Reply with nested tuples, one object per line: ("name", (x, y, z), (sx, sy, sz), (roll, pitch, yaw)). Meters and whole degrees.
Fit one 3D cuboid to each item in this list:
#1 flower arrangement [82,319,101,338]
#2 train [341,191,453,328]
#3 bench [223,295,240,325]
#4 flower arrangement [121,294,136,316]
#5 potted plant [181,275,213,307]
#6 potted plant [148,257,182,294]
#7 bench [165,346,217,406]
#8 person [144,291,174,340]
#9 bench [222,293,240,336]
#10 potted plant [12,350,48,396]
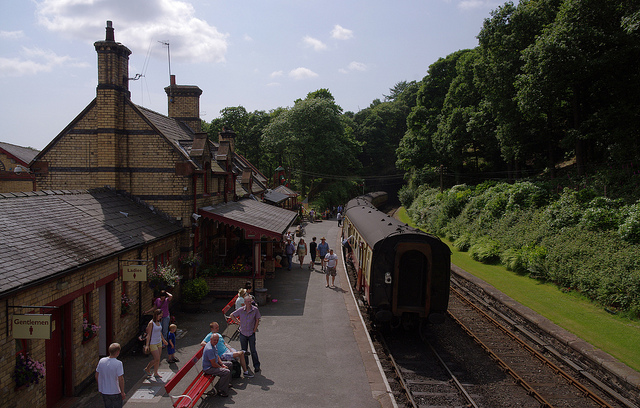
("flower arrangement", (-9.203, 4.960, 19.344), (0.596, 0.519, 0.604), (0, 5, -4))
("train", (3.802, 3.384, 24.715), (3.422, 5.057, 6.506), (1, 2, -5))
("bench", (-4.154, 4.980, 22.462), (0.464, 0.598, 1.635), (4, 3, 5))
("flower arrangement", (-8.498, 4.448, 21.298), (0.750, 0.550, 0.632), (4, -3, -14))
("potted plant", (-6.363, 4.479, 24.962), (1.373, 1.407, 1.348), (-4, 2, -35))
("potted plant", (-7.542, 3.445, 23.113), (1.373, 1.575, 1.561), (3, -8, 7))
("bench", (-4.860, 6.530, 18.093), (1.135, 1.974, 2.397), (2, 3, 24))
("person", (-7.029, 5.068, 21.261), (0.905, 2.509, 0.765), (3, 8, 13))
("bench", (-4.205, 5.256, 22.632), (0.605, 0.743, 2.014), (2, 2, 1))
("potted plant", (-10.477, 5.962, 17.183), (0.924, 1.570, 0.451), (0, 3, -29))
